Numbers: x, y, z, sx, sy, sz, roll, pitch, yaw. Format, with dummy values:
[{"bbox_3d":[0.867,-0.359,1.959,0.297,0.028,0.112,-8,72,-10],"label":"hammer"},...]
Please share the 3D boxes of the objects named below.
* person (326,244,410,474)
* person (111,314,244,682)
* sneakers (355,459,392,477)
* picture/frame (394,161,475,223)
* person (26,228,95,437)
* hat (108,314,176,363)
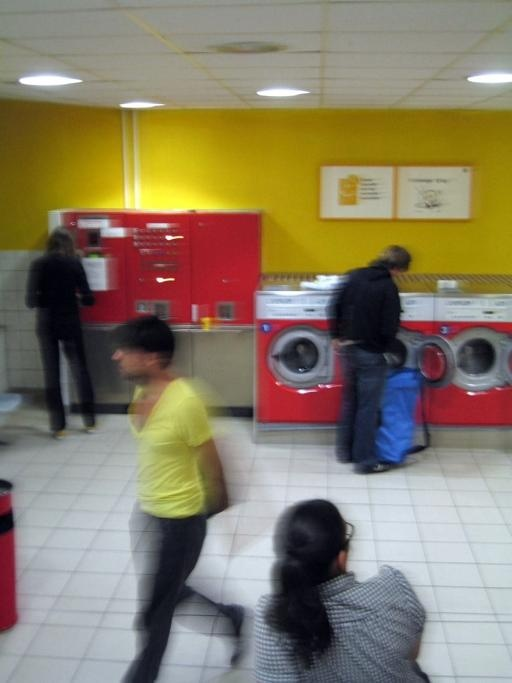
[{"bbox_3d":[0.740,0.198,4.084,0.513,1.449,0.295,3,11,17],"label":"person"},{"bbox_3d":[-0.336,0.534,1.907,0.322,1.205,0.391,-9,14,-41],"label":"person"},{"bbox_3d":[0.828,0.894,4.127,0.279,0.107,0.094,-8,16,-6],"label":"sneakers"},{"bbox_3d":[1.569,-1.318,4.993,0.580,0.388,0.055,0,10,2],"label":"picture/frame"},{"bbox_3d":[-1.589,-0.058,4.704,0.518,1.680,0.239,-4,11,-20],"label":"person"},{"bbox_3d":[-0.367,-0.004,1.902,0.173,0.142,0.220,-1,10,-7],"label":"hat"}]
